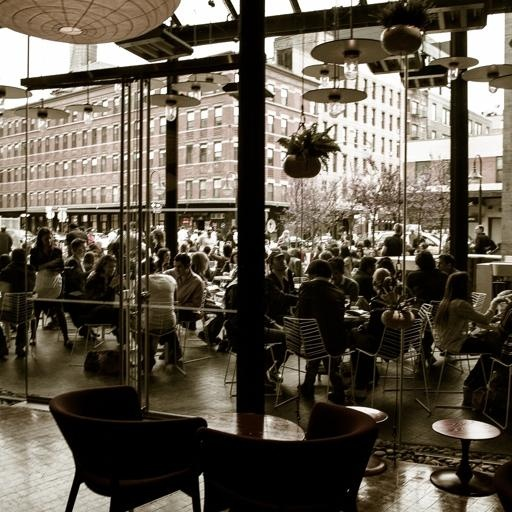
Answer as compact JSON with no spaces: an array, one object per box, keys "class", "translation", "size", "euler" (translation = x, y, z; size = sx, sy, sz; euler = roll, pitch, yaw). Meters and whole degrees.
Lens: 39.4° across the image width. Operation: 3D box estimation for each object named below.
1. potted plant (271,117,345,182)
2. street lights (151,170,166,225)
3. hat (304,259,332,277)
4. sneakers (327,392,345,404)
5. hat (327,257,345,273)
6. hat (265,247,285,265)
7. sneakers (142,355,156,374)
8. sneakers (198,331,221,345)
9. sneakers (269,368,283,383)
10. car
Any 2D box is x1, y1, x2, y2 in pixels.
[{"class":"potted plant","translation":[0.400,-0.839,5.834],"size":[0.521,0.405,0.431],"euler":[-8,18,-18]},{"class":"street lights","translation":[-0.903,-0.533,6.557],"size":[0.128,0.520,0.077],"euler":[0,5,-2]},{"class":"hat","translation":[0.613,0.117,7.106],"size":[0.161,0.189,0.197],"euler":[1,-3,-39]},{"class":"sneakers","translation":[0.786,1.375,6.934],"size":[0.159,0.150,0.093],"euler":[-3,-2,25]},{"class":"hat","translation":[0.942,0.120,8.301],"size":[0.203,0.196,0.151],"euler":[-1,3,-18]},{"class":"hat","translation":[0.212,-0.006,7.978],"size":[0.147,0.100,0.192],"euler":[-9,-15,-34]},{"class":"sneakers","translation":[-0.972,0.986,6.522],"size":[0.091,0.142,0.149],"euler":[2,-19,1]},{"class":"sneakers","translation":[-0.450,0.770,6.753],"size":[0.176,0.057,0.117],"euler":[24,-52,-34]},{"class":"sneakers","translation":[0.212,1.284,7.648],"size":[0.156,0.144,0.266],"euler":[7,-22,5]},{"class":"car","translation":[1.979,-0.303,13.524],"size":[3.540,0.804,0.737],"euler":[1,1,22]}]
